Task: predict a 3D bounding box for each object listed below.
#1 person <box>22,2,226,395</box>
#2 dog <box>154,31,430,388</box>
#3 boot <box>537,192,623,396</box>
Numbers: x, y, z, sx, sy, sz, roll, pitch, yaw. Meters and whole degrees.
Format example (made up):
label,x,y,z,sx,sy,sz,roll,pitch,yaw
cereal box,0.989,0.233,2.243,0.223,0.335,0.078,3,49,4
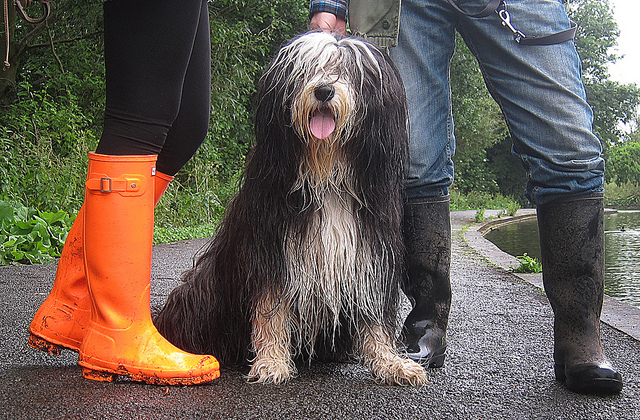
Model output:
label,x,y,z,sx,sy,sz,roll,pitch,yaw
person,-0.919,-0.139,2.658,0.920,1.964,0.730,0,3,-29
dog,-0.216,0.011,3.085,1.000,1.792,1.790,-3,4,-42
boot,1.309,0.406,2.711,0.403,0.986,0.340,2,3,22
